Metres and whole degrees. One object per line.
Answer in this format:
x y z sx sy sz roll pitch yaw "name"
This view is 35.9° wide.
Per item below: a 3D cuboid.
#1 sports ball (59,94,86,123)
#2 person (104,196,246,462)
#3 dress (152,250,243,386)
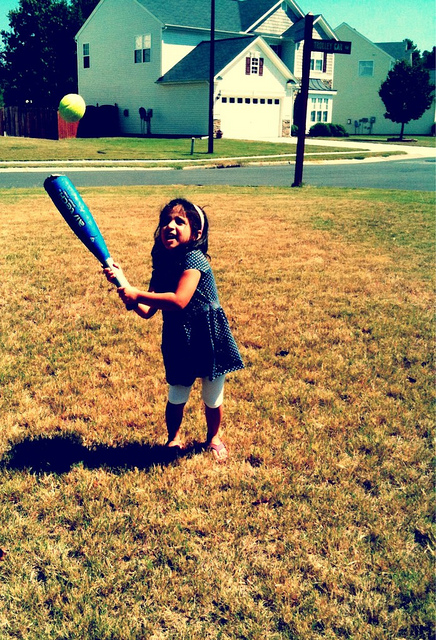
-1.121 -1.631 5.118 0.177 0.219 0.421 0 14 -13 "sports ball"
-0.180 0.042 3.029 0.593 1.173 0.600 3 13 -3 "person"
-0.110 -0.012 2.971 0.384 0.615 0.314 -6 16 -35 "dress"
